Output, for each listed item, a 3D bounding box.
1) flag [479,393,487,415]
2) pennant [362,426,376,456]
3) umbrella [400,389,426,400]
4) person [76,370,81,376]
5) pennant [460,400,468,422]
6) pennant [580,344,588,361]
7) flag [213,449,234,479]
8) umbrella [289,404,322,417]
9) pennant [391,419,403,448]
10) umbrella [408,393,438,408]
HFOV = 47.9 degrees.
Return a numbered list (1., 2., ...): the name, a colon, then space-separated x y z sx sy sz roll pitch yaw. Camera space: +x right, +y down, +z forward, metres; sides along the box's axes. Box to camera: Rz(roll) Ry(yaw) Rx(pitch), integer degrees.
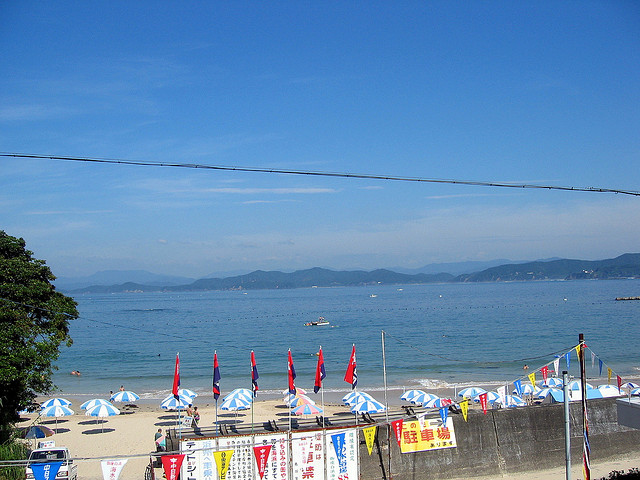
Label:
1. flag: 9.160 9.091 40.167 0.282 1.090 0.531 -8 -16 8
2. pennant: 2.675 10.402 37.834 0.662 1.359 1.017 -6 -16 3
3. umbrella: 7.155 11.790 55.366 2.505 0.650 2.110 -4 -8 -6
4. person: -26.033 14.306 77.650 0.649 0.249 0.755 7 2 -14
5. pennant: 7.905 9.340 39.495 0.323 1.111 0.765 -8 -16 8
6. pennant: 13.669 5.763 37.448 0.395 0.768 0.648 -10 -16 15
7. flag: -4.875 11.343 36.647 0.721 1.388 1.272 -8 -16 10
8. umbrella: -0.999 11.429 49.146 1.573 0.654 2.240 5 -15 -30
9. pennant: 4.215 10.234 38.637 0.532 1.285 0.479 -10 -17 16
10. umbrella: 7.586 11.524 52.558 1.147 0.902 2.152 2 -15 -22
